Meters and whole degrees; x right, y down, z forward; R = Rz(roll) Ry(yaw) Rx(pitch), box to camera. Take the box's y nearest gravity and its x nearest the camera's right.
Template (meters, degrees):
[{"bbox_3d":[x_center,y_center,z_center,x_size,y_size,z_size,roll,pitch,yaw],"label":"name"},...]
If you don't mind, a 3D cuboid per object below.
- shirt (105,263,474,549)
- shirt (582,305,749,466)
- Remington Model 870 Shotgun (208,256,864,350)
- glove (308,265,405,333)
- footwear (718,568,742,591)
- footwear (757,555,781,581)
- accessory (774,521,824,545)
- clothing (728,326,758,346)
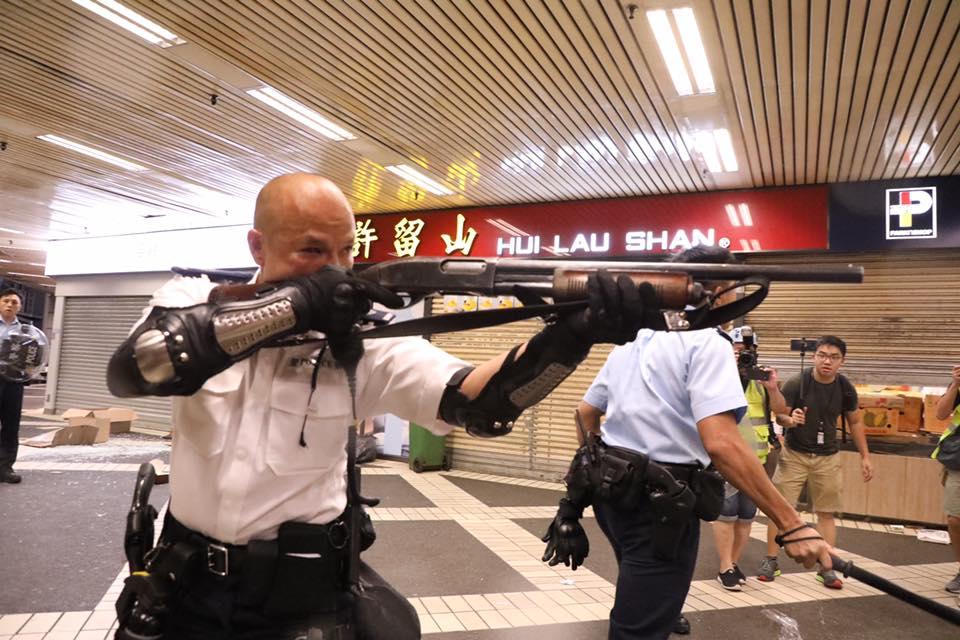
[{"bbox_3d":[-1.079,0.602,3.339,2.313,1.086,0.529,-3,-24,27],"label":"shirt"},{"bbox_3d":[1.336,0.487,4.510,0.762,0.909,1.357,8,-10,-31],"label":"shirt"},{"bbox_3d":[0.123,-0.069,2.985,3.234,0.374,0.200,-3,6,7],"label":"Remington Model 870 Shotgun"},{"bbox_3d":[-0.581,-0.100,2.924,0.406,0.302,0.143,-2,2,-13],"label":"glove"},{"bbox_3d":[2.510,2.590,6.197,0.143,0.117,0.278,1,-9,-11],"label":"footwear"},{"bbox_3d":[3.026,2.615,6.524,0.150,0.150,0.406,-9,-20,32],"label":"footwear"},{"bbox_3d":[1.919,1.293,3.756,0.224,0.066,0.181,-15,-5,13],"label":"accessory"},{"bbox_3d":[2.878,0.180,6.830,0.309,0.158,0.497,1,-5,12],"label":"clothing"}]
